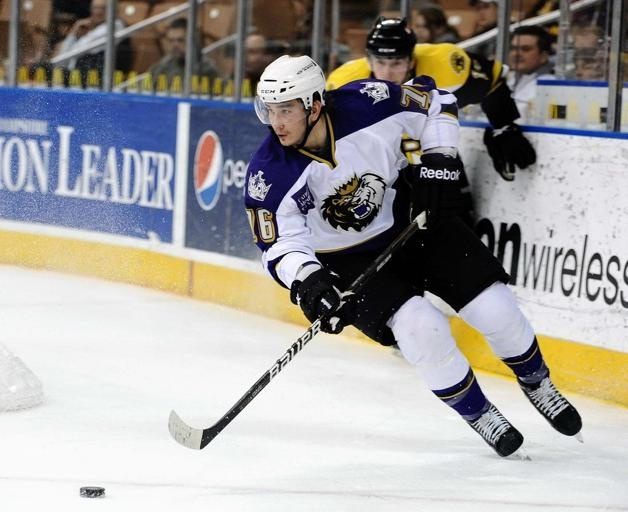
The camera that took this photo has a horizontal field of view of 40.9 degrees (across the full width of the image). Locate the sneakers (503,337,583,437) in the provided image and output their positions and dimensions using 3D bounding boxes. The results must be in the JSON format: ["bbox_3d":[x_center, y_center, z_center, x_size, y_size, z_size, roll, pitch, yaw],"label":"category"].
[{"bbox_3d":[0.910,0.524,3.349,0.383,0.116,0.155,56,15,25],"label":"sneakers"}]

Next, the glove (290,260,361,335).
[{"bbox_3d":[0.029,0.153,2.910,0.224,0.235,0.129,2,13,-2],"label":"glove"}]

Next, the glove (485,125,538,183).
[{"bbox_3d":[0.907,-0.461,3.777,0.076,0.231,0.231,-7,64,-45],"label":"glove"}]

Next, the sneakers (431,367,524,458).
[{"bbox_3d":[0.607,0.602,3.192,0.346,0.106,0.151,48,7,38],"label":"sneakers"}]

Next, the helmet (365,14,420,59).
[{"bbox_3d":[0.339,-0.967,3.791,0.155,0.135,0.220,-1,17,6],"label":"helmet"}]
